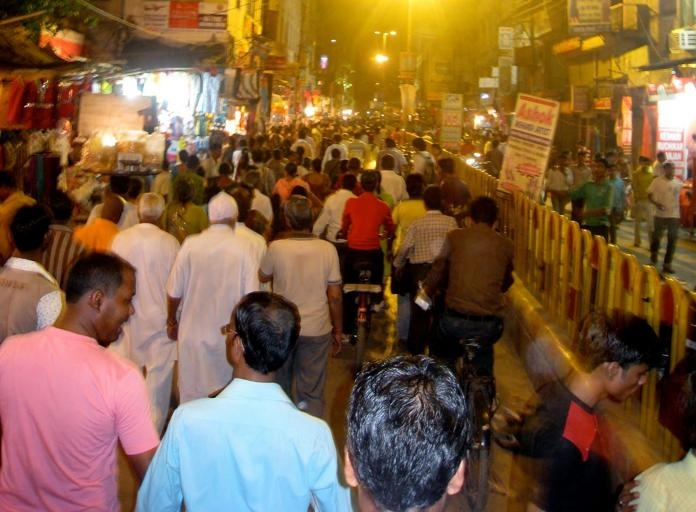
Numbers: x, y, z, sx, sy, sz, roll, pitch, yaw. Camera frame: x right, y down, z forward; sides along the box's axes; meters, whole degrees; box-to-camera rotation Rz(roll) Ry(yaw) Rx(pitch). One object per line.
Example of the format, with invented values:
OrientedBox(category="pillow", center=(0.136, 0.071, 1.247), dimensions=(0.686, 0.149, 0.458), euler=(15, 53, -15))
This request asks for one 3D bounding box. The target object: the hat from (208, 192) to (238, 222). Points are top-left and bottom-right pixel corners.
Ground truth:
OrientedBox(category="hat", center=(-1.166, -0.433, 4.667), dimensions=(0.211, 0.243, 0.290), euler=(3, 47, -6))

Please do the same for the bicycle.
OrientedBox(category="bicycle", center=(0.151, 0.796, 6.985), dimensions=(0.619, 0.863, 1.299), euler=(5, 11, 2))
